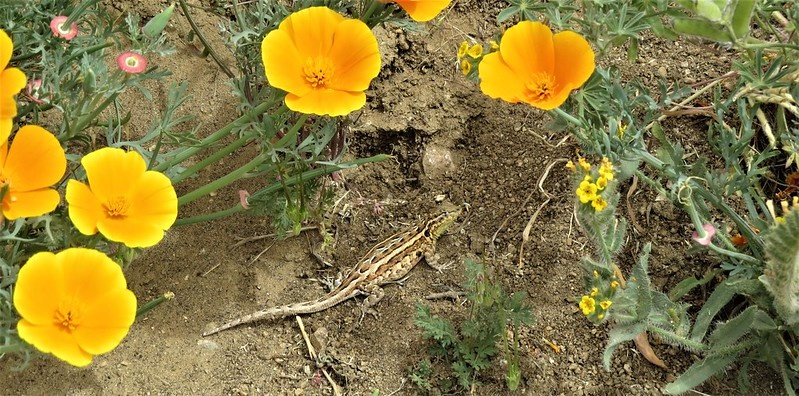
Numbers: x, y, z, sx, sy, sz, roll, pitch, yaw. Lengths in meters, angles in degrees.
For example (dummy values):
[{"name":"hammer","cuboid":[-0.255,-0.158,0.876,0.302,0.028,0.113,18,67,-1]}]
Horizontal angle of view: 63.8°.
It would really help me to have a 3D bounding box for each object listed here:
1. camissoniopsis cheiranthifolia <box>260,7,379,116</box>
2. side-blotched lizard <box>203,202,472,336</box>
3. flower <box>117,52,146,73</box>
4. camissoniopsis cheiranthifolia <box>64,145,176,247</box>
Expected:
[{"name":"camissoniopsis cheiranthifolia","cuboid":[-0.505,-0.890,4.159,0.783,0.261,0.714,10,83,-7]},{"name":"side-blotched lizard","cuboid":[-0.256,0.604,4.890,1.872,0.216,0.440,-26,57,-13]},{"name":"flower","cuboid":[-1.686,-0.862,4.076,0.146,0.125,0.135,-3,56,4]},{"name":"camissoniopsis cheiranthifolia","cuboid":[-1.781,0.029,4.111,0.707,0.245,0.650,51,37,11]}]
